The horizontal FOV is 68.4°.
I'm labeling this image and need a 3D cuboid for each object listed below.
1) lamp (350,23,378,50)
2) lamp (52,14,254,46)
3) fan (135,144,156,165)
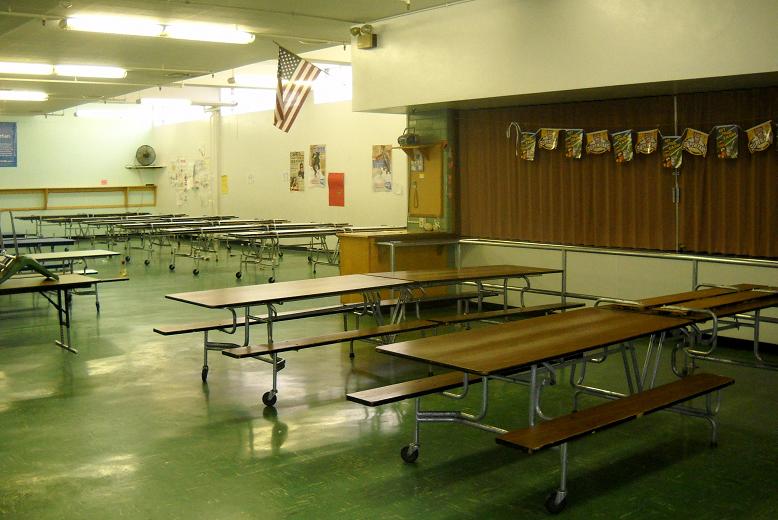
[{"bbox_3d":[-0.389,-3.543,9.058,0.467,0.366,0.165,7,13,32],"label":"lamp"},{"bbox_3d":[-3.492,-3.564,8.851,2.661,0.205,0.687,-5,10,-25],"label":"lamp"},{"bbox_3d":[-9.493,-4.086,22.448,0.694,0.797,0.399,-4,11,-19],"label":"fan"}]
